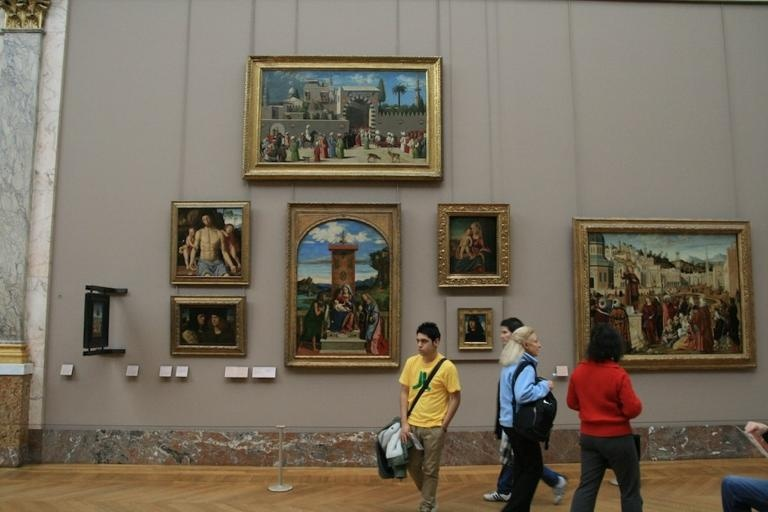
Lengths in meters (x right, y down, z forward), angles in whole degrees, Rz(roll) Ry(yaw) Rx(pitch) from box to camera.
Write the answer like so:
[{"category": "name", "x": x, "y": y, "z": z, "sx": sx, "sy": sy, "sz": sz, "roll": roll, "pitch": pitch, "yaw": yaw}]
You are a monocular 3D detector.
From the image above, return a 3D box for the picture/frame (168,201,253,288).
[{"category": "picture/frame", "x": -3.602, "y": -0.167, "z": 17.127, "sx": 1.667, "sy": 1.873, "sz": 0.138, "roll": 0, "pitch": -5, "yaw": -1}]

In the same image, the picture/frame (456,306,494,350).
[{"category": "picture/frame", "x": 1.896, "y": 1.544, "z": 17.010, "sx": 0.814, "sy": 0.985, "sz": 0.068, "roll": 0, "pitch": -4, "yaw": -2}]

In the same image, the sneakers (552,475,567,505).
[{"category": "sneakers", "x": 3.208, "y": 4.234, "z": 14.934, "sx": 0.249, "sy": 0.620, "sz": 0.207, "roll": 0, "pitch": 12, "yaw": 7}]

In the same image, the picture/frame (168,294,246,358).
[{"category": "picture/frame", "x": -3.657, "y": 1.517, "z": 17.014, "sx": 1.163, "sy": 0.918, "sz": 0.070, "roll": 0, "pitch": -5, "yaw": 0}]
